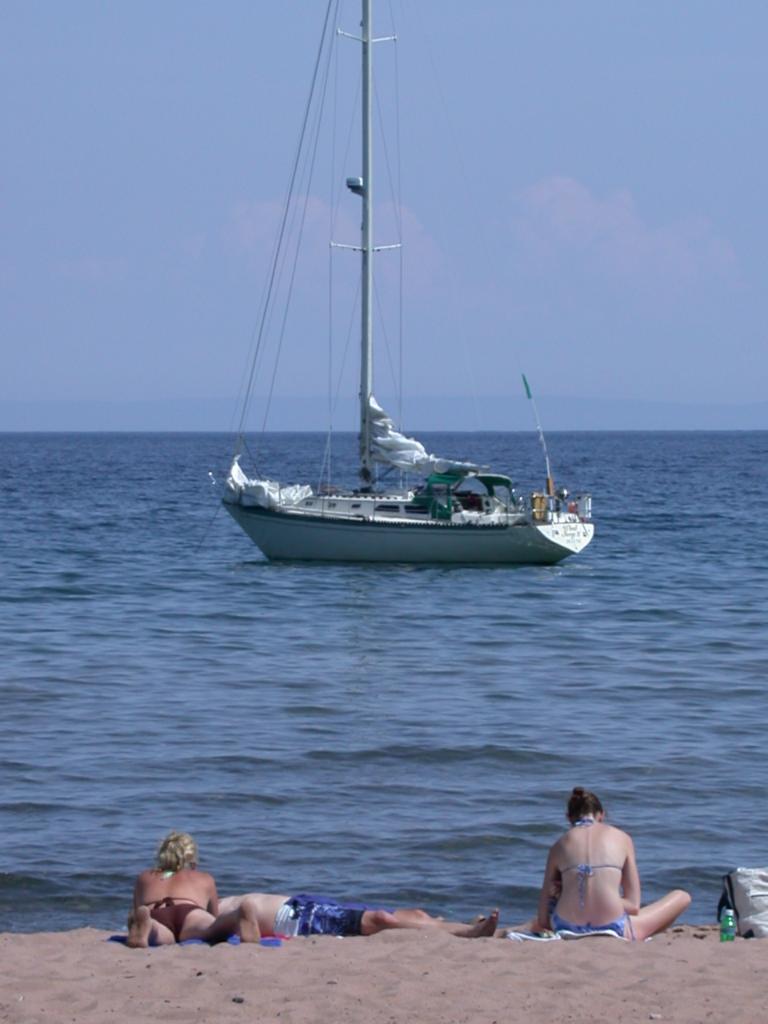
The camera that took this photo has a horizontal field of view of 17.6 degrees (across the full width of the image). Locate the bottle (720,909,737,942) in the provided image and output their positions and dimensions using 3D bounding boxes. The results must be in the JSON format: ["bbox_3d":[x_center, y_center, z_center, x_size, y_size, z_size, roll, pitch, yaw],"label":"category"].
[{"bbox_3d":[2.872,3.455,20.742,0.148,0.278,0.184,-6,8,-25],"label":"bottle"}]

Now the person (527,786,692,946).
[{"bbox_3d":[1.747,2.941,20.456,1.349,1.384,0.830,-7,-14,18],"label":"person"}]

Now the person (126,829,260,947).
[{"bbox_3d":[-1.725,3.173,20.749,0.678,0.999,2.001,-2,-7,1],"label":"person"}]

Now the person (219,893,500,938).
[{"bbox_3d":[-0.204,3.371,20.556,1.439,0.361,0.843,5,-5,8],"label":"person"}]
